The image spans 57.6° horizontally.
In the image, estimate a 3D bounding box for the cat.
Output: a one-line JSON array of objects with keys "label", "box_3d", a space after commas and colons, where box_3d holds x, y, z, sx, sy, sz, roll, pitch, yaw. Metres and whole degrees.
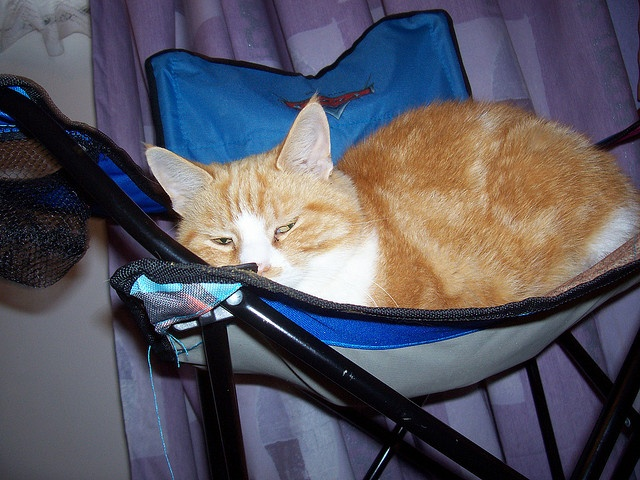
[{"label": "cat", "box_3d": [0.250, -0.086, 1.457, 0.722, 0.760, 0.315, -36, 121, -22]}]
